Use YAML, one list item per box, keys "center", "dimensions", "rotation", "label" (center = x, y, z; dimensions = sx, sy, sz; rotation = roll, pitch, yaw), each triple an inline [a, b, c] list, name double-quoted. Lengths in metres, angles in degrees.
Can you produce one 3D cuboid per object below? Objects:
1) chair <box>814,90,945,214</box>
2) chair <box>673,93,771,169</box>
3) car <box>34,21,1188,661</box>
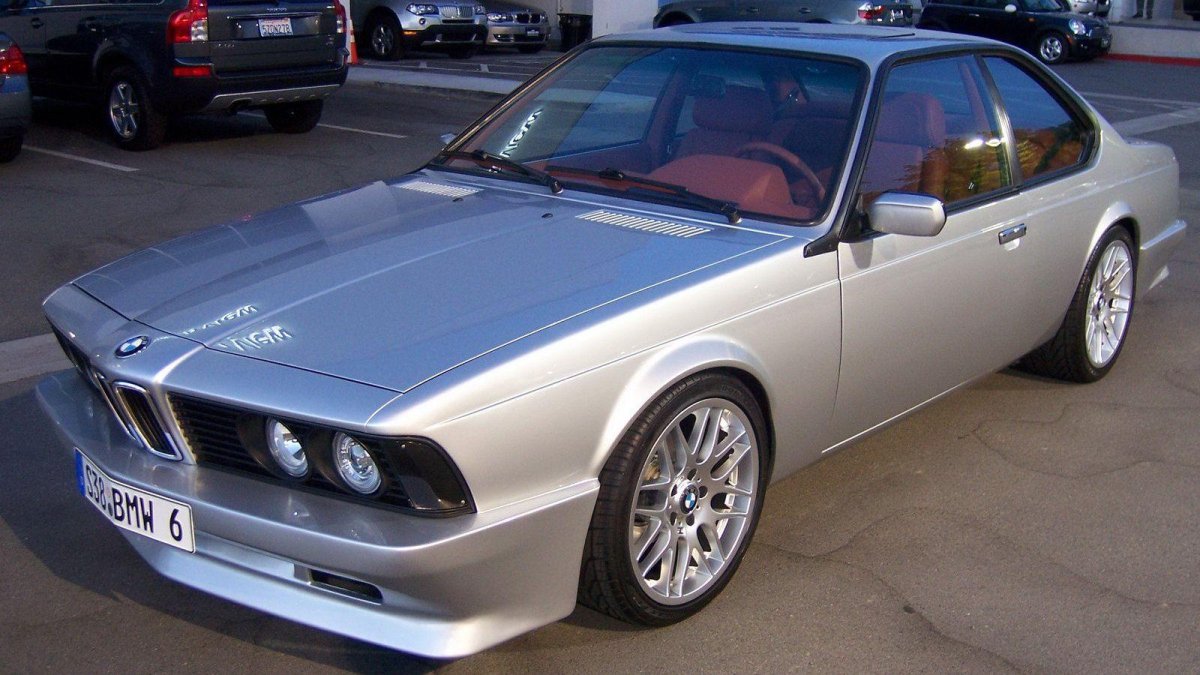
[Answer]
- center: [1.426, -1.051, 4.169]
  dimensions: [0.498, 0.836, 0.797]
  rotation: [10, 25, 28]
  label: "chair"
- center: [0.705, -1.218, 4.343]
  dimensions: [0.486, 0.453, 0.433]
  rotation: [11, 22, 30]
  label: "chair"
- center: [0.680, 0.085, 4.580]
  dimensions: [6.239, 1.817, 2.959]
  rotation: [-20, 35, -31]
  label: "car"
